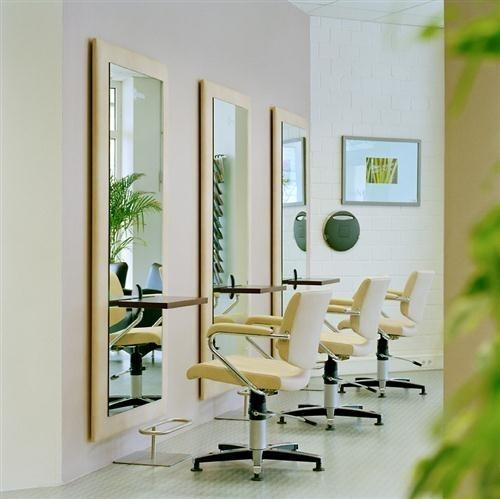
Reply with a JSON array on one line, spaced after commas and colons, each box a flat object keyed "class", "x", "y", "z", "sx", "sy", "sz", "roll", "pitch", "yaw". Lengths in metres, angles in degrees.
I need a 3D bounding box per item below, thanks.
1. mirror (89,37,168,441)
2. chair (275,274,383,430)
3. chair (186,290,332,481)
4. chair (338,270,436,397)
[{"class": "mirror", "x": -0.640, "y": -0.064, "z": 2.980, "sx": 0.184, "sy": 2.053, "sz": 0.606, "roll": 0, "pitch": -2, "yaw": 22}, {"class": "chair", "x": 0.555, "y": 0.698, "z": 3.746, "sx": 0.607, "sy": 0.906, "sz": 0.636, "roll": -16, "pitch": 7, "yaw": -31}, {"class": "chair", "x": 0.147, "y": 0.712, "z": 3.104, "sx": 0.834, "sy": 1.234, "sz": 0.884, "roll": -1, "pitch": -6, "yaw": 15}, {"class": "chair", "x": 1.147, "y": 0.684, "z": 4.637, "sx": 0.778, "sy": 1.041, "sz": 0.782, "roll": 3, "pitch": -4, "yaw": -10}]
